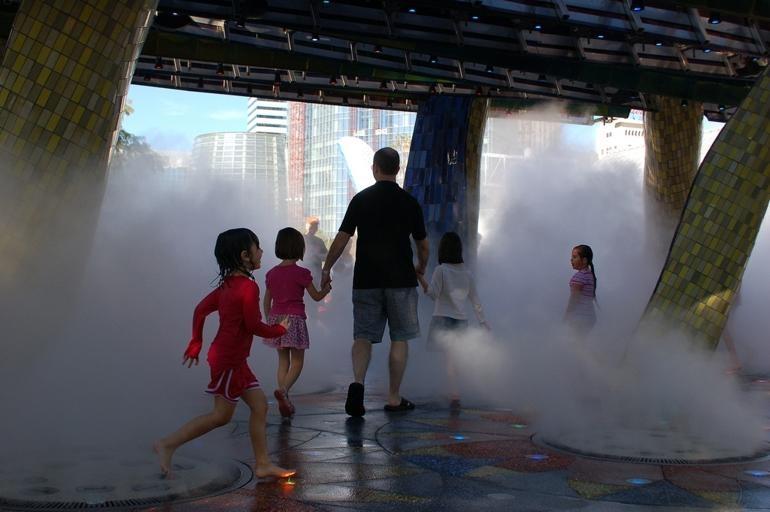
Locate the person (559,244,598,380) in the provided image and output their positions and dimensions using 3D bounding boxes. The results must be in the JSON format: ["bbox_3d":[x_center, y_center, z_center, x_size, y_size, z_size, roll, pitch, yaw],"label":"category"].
[{"bbox_3d":[1.983,0.418,5.059,0.301,1.151,1.030,-1,-5,22],"label":"person"}]

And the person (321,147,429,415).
[{"bbox_3d":[-0.058,0.160,4.211,0.823,2.232,0.296,1,-4,1],"label":"person"}]

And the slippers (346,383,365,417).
[{"bbox_3d":[-0.241,1.118,3.920,0.151,0.276,0.158,1,-4,-4],"label":"slippers"}]

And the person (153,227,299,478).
[{"bbox_3d":[-0.812,0.493,2.640,0.681,1.301,0.225,1,-4,-1],"label":"person"}]

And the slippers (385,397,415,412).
[{"bbox_3d":[0.126,1.250,4.191,0.194,0.082,0.103,-1,-4,-17],"label":"slippers"}]
